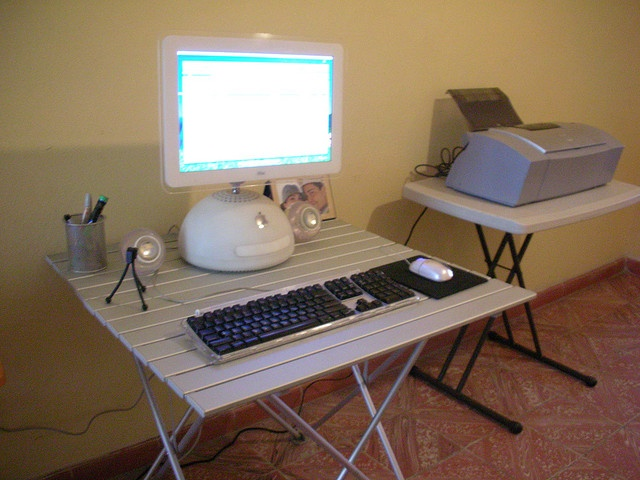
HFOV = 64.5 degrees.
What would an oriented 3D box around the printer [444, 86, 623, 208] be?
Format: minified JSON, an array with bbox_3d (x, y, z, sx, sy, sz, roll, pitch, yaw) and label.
[{"bbox_3d":[0.849,-0.378,2.355,0.824,0.511,0.670,3,12,-25],"label":"printer"}]

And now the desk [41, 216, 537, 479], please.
[{"bbox_3d":[-0.149,0.394,1.695,1.096,0.559,0.837,-15,31,-41],"label":"desk"}]

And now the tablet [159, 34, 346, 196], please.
[{"bbox_3d":[-0.207,-0.378,1.489,0.612,0.405,0.059,-7,20,-26],"label":"tablet"}]

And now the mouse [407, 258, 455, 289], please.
[{"bbox_3d":[0.324,0.091,1.471,0.106,0.033,0.064,21,36,40],"label":"mouse"}]

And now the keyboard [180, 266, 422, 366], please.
[{"bbox_3d":[-0.042,0.179,1.341,0.606,0.062,0.223,-11,18,-28],"label":"keyboard"}]
